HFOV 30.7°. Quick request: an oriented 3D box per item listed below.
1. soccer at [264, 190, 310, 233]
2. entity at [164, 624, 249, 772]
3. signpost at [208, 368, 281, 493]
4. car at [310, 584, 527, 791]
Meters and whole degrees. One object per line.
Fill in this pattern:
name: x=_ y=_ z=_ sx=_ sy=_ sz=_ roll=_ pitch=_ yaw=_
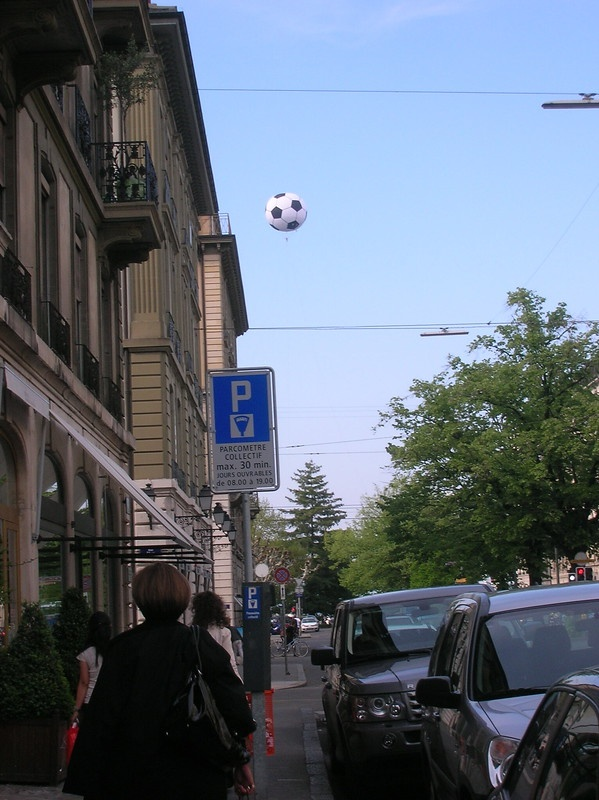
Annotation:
soccer: x=-0.227 y=-3.606 z=20.906 sx=0.713 sy=0.850 sz=0.805 roll=0 pitch=-13 yaw=-6
entity: x=-0.311 y=1.019 z=3.717 sx=0.220 sy=0.479 sz=0.297 roll=-4 pitch=-13 yaw=8
signpost: x=-0.406 y=0.212 z=7.941 sx=0.495 sy=0.971 sz=0.425 roll=-1 pitch=-13 yaw=-5
car: x=0.985 y=2.568 z=9.974 sx=1.729 sy=1.281 sz=2.626 roll=-2 pitch=-16 yaw=0
